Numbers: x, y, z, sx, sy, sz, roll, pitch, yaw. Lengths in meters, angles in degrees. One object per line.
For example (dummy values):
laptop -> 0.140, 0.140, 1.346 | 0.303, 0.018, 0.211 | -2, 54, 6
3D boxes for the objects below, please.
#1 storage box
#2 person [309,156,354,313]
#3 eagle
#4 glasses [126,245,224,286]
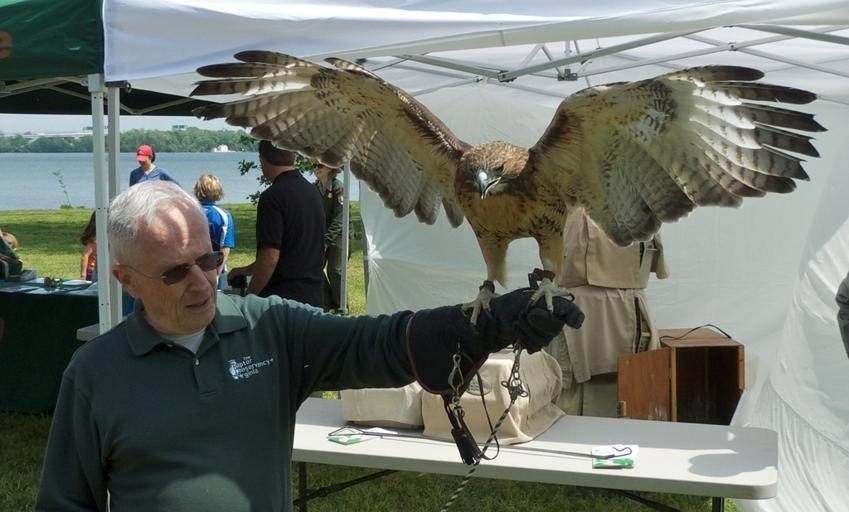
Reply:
storage box -> 2.273, 1.084, 9.025 | 1.012, 0.735, 1.055 | -1, 4, -2
person -> -1.025, -0.236, 11.357 | 0.462, 1.701, 0.470 | 2, -1, 25
eagle -> 0.554, -0.428, 7.333 | 4.245, 1.894, 1.724 | 3, 10, 8
glasses -> -1.535, 0.078, 6.334 | 0.583, 0.170, 0.163 | -8, 7, -17
